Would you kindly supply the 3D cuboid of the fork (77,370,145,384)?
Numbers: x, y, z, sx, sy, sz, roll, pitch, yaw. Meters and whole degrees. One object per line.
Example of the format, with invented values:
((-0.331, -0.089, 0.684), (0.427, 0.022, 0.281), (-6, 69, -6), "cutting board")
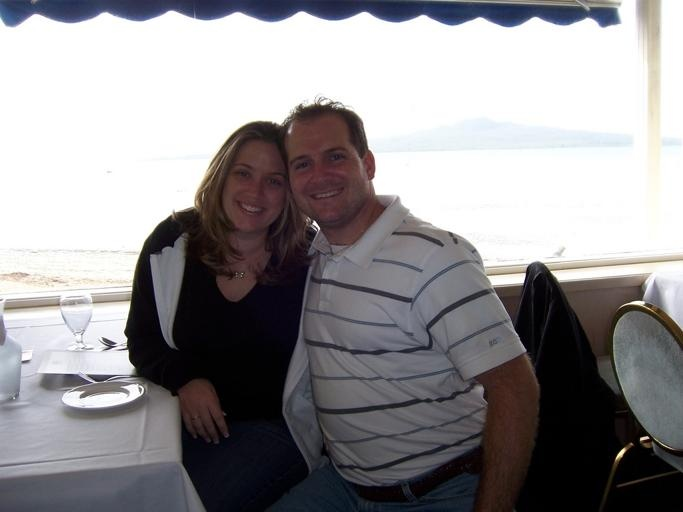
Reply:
((-0.833, 0.431, 1.957), (0.208, 0.031, 0.023), (1, 36, -3), "fork")

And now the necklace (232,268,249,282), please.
((-0.407, 0.073, 2.182), (0.044, 0.040, 0.010), (2, -23, 0), "necklace")
